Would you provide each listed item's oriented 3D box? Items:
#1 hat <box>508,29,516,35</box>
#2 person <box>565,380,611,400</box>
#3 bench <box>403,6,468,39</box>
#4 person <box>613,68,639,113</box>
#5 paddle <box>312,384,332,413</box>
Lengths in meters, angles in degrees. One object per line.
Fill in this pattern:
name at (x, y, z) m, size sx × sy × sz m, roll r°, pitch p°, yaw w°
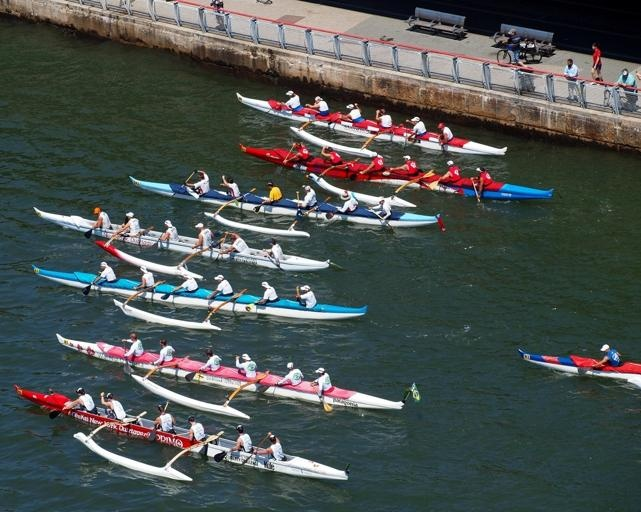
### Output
hat at (12.661, -14.853, 98.363) m, size 0.330 × 0.203 × 0.764 m, roll 21°, pitch 20°, yaw 21°
person at (14.208, 7.156, 79.790) m, size 2.101 × 0.843 × 1.139 m, roll 4°, pitch 7°, yaw 8°
bench at (8.067, -16.193, 103.476) m, size 4.274 × 2.074 × 1.288 m, roll 7°, pitch 9°, yaw 28°
person at (19.445, -10.472, 94.086) m, size 1.456 × 2.590 × 1.001 m, roll 6°, pitch 9°, yaw 9°
paddle at (0.055, 7.594, 79.041) m, size 0.602 × 1.850 × 0.274 m, roll -35°, pitch -15°, yaw 7°
